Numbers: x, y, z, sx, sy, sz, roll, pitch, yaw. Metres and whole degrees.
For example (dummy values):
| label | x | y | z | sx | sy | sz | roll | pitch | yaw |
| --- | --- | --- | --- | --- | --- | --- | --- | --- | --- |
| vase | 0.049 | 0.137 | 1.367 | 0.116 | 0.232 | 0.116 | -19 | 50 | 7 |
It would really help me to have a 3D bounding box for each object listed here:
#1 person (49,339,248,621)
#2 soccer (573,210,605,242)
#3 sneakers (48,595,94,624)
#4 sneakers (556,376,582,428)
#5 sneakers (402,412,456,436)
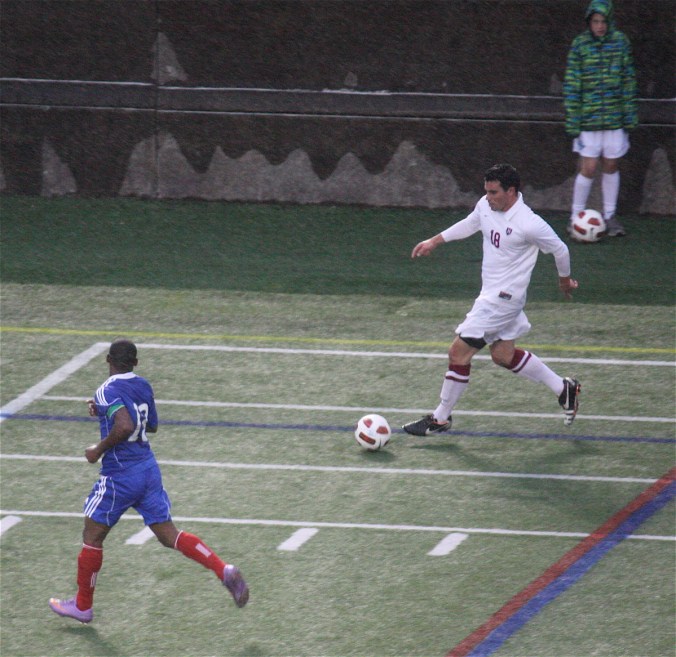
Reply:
| label | x | y | z | sx | sy | sz | roll | pitch | yaw |
| --- | --- | --- | --- | --- | --- | --- | --- | --- | --- |
| person | -1.123 | 0.985 | 8.196 | 1.186 | 1.728 | 0.691 | 5 | 13 | 5 |
| soccer | 3.138 | -1.342 | 16.979 | 0.504 | 0.387 | 0.431 | 3 | 8 | 5 |
| sneakers | -1.660 | 1.750 | 8.171 | 0.364 | 0.115 | 0.112 | 14 | 16 | 8 |
| sneakers | 1.987 | 0.636 | 11.307 | 0.261 | 0.416 | 0.160 | -3 | 33 | 6 |
| sneakers | 0.754 | 0.837 | 11.102 | 0.490 | 0.143 | 0.158 | 1 | 4 | -4 |
